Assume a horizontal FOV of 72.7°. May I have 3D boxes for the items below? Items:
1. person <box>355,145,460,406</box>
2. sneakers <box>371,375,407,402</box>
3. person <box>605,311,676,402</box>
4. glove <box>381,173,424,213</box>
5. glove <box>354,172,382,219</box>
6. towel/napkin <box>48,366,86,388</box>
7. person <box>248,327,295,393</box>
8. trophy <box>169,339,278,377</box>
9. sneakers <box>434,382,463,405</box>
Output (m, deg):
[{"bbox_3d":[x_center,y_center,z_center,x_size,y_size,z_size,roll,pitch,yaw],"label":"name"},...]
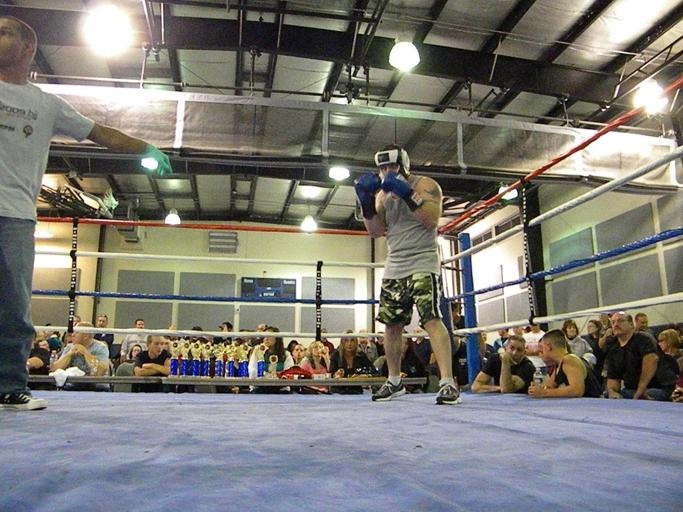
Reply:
[{"bbox_3d":[0.381,0.046,2.922,0.576,1.670,0.573,11,-18,-34],"label":"person"},{"bbox_3d":[0.319,0.848,2.985,0.270,0.105,0.097,-5,-20,-32],"label":"sneakers"},{"bbox_3d":[2.572,0.926,4.155,0.481,0.655,0.561,6,-14,-19],"label":"person"},{"bbox_3d":[0.355,-0.389,2.793,0.246,0.246,0.100,-2,-15,12],"label":"glove"},{"bbox_3d":[0.171,-0.409,3.096,0.238,0.258,0.123,4,17,6],"label":"glove"},{"bbox_3d":[-2.330,1.006,3.952,0.370,0.135,0.345,5,-10,-29],"label":"towel/napkin"},{"bbox_3d":[-0.765,1.117,4.978,0.517,0.659,0.382,2,-4,-20],"label":"person"},{"bbox_3d":[-1.161,1.063,4.871,1.049,0.380,1.190,1,-12,-1],"label":"trophy"},{"bbox_3d":[0.603,0.767,2.631,0.139,0.108,0.222,-2,-13,12],"label":"sneakers"}]
